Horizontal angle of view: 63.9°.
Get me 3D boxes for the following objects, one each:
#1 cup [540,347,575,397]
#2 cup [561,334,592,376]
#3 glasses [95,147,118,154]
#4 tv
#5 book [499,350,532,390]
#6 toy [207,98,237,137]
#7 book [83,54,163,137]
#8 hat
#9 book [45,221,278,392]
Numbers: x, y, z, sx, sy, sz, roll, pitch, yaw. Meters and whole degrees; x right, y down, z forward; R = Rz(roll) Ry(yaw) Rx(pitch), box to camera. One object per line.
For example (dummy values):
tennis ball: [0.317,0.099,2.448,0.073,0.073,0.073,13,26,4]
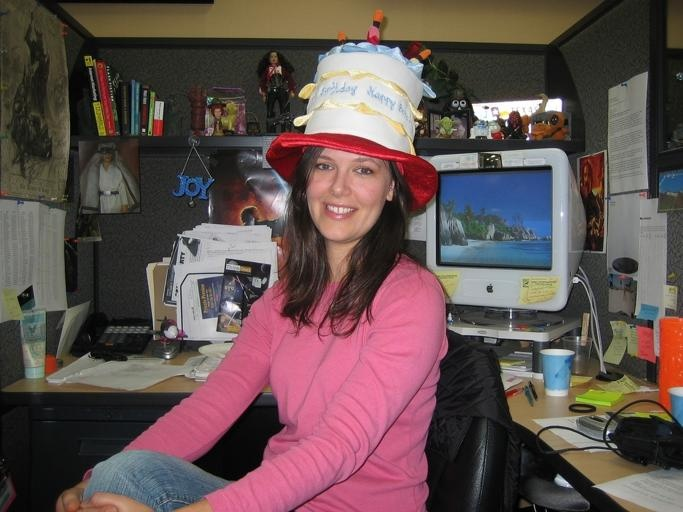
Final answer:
cup: [0.568,0.320,1.506,0.108,0.123,0.107,1,-3,0]
cup: [0.686,0.284,1.594,0.097,0.104,0.099,1,-14,0]
glasses: [-0.782,-0.355,1.829,0.031,0.016,0.036,-4,1,-4]
tv: [0.514,-0.078,1.977,0.625,0.654,0.497,1,1,27]
book: [0.516,0.331,1.623,0.090,0.023,0.099,-2,14,9]
toy: [-0.405,-0.479,1.870,0.102,0.144,0.082,1,1,-4]
book: [-0.713,-0.519,1.816,0.239,0.246,0.072,1,1,-15]
hat: [0.095,-0.333,1.376,0.402,0.313,0.409,11,-12,21]
book: [-0.474,0.123,1.714,0.483,0.326,0.494,1,3,19]
